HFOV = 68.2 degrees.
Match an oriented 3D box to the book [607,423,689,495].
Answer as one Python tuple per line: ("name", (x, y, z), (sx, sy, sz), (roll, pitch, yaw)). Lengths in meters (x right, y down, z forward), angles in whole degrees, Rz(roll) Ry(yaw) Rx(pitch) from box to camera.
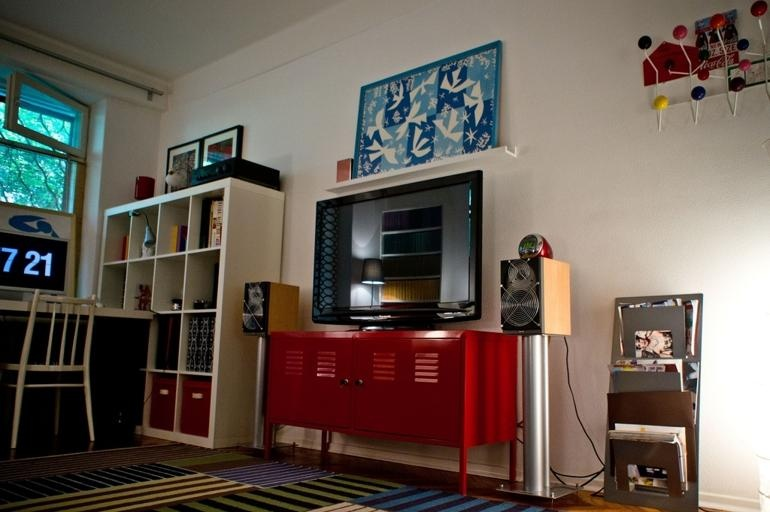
("book", (1.459, 1.103, 3.300), (0.538, 0.478, 0.298), (-6, -16, 34))

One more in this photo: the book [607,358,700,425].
("book", (1.515, 0.802, 3.278), (0.436, 0.406, 0.085), (-1, -6, 23))

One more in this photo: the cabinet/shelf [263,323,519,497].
("cabinet/shelf", (-0.024, 1.024, 4.078), (1.818, 0.964, 0.600), (-8, -13, 41))

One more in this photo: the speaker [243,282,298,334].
("speaker", (-0.880, 0.405, 4.438), (0.414, 0.399, 0.167), (2, -5, -16))

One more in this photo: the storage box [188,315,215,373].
("storage box", (-1.500, 0.708, 4.682), (0.327, 0.458, 0.111), (-4, -7, 45))

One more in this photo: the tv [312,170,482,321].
("tv", (0.118, -0.042, 4.057), (1.059, 0.783, 0.206), (-6, -17, 32))

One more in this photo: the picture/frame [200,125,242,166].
("picture/frame", (-1.560, -1.057, 5.468), (0.520, 0.382, 0.043), (-3, -7, 33))

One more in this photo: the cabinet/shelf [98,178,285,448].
("cabinet/shelf", (-1.559, 0.534, 4.744), (1.912, 1.847, 0.554), (-8, -15, 36))

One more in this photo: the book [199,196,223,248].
("book", (-1.459, -0.274, 4.805), (0.158, 0.404, 0.407), (2, -4, -20))

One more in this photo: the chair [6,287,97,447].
("chair", (-2.606, 0.851, 4.474), (0.663, 1.138, 0.882), (4, -6, -27))

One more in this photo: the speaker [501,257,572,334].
("speaker", (0.944, 0.240, 3.539), (0.403, 0.489, 0.301), (4, -1, -33))
